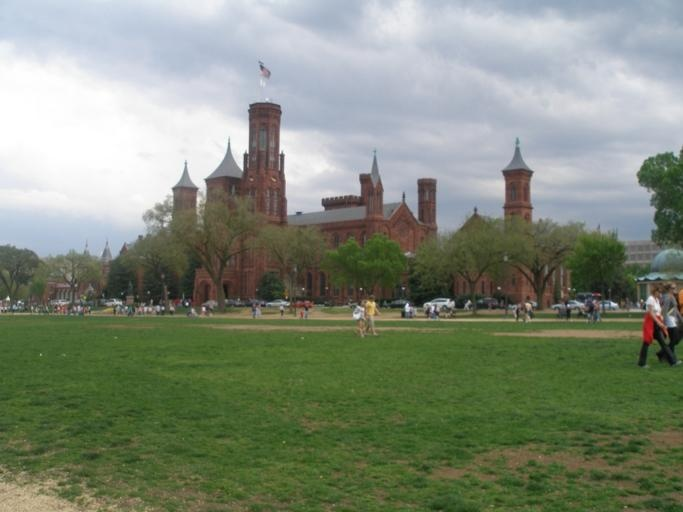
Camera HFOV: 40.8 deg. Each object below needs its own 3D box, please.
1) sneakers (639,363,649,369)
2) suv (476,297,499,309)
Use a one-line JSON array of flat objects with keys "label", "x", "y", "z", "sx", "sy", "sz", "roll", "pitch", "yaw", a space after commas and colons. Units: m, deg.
[{"label": "sneakers", "x": 9.370, "y": 3.412, "z": 28.399, "sx": 0.298, "sy": 0.131, "sz": 0.102, "roll": -4, "pitch": -2, "yaw": 25}, {"label": "suv", "x": 16.012, "y": 5.215, "z": 101.151, "sx": 1.940, "sy": 0.915, "sz": 1.194, "roll": -1, "pitch": -4, "yaw": 9}]
